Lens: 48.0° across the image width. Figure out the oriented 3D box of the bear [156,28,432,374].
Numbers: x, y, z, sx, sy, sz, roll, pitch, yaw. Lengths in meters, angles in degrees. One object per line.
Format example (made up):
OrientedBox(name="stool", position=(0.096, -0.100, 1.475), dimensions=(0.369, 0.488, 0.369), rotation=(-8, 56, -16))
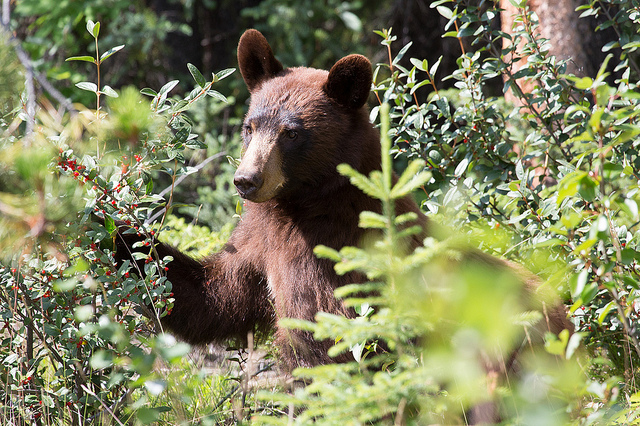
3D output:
OrientedBox(name="bear", position=(-0.257, -0.048, 4.498), dimensions=(1.303, 2.036, 0.885), rotation=(5, 15, 5))
